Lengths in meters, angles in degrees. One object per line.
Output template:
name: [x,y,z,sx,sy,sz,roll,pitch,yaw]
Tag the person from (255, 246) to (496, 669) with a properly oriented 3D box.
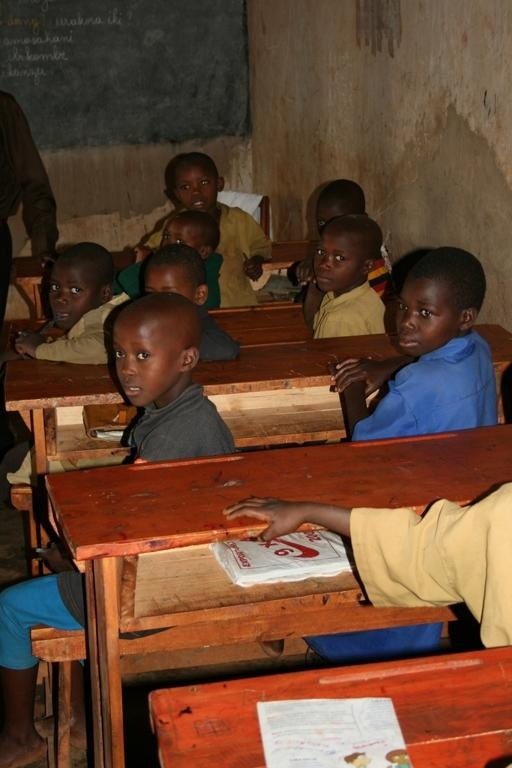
person: [0.458,0.137,2.194,0.598,1.007,0.482,-1,23,10]
